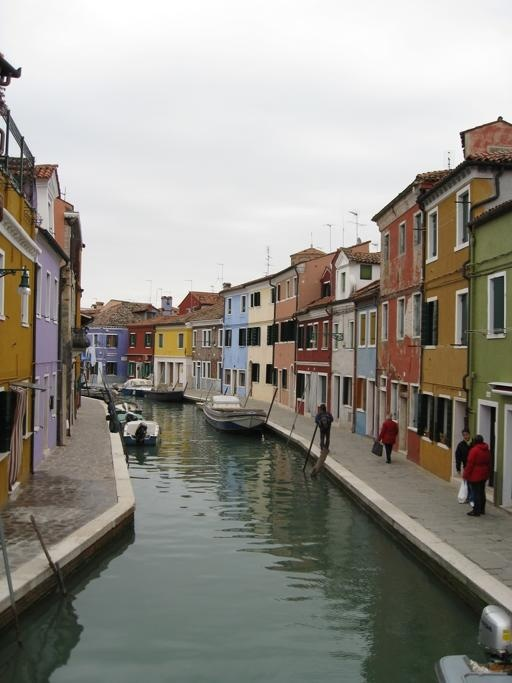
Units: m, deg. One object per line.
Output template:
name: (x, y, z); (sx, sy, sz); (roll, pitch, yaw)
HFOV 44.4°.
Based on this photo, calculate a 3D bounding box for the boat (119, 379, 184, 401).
boat: (-8.774, 4.160, 52.668); (2.100, 1.643, 9.041); (-2, 1, -31)

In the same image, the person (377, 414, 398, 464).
person: (4.165, 3.019, 19.664); (0.539, 1.428, 1.340); (0, -1, 12)

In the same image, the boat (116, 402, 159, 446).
boat: (-5.336, 3.881, 28.075); (1.419, 1.388, 4.558); (1, 7, -15)

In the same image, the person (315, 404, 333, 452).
person: (2.353, 2.984, 21.632); (0.780, 1.706, 0.680); (8, 12, 41)

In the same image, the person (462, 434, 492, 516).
person: (4.383, 2.638, 12.310); (0.476, 1.583, 1.023); (0, -1, 21)
